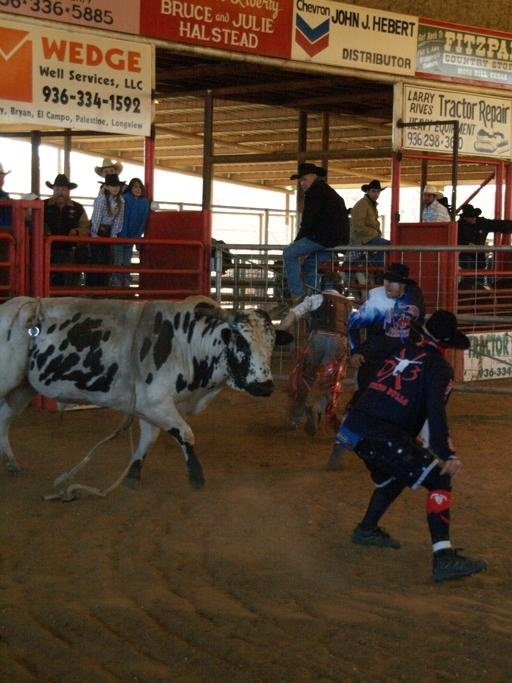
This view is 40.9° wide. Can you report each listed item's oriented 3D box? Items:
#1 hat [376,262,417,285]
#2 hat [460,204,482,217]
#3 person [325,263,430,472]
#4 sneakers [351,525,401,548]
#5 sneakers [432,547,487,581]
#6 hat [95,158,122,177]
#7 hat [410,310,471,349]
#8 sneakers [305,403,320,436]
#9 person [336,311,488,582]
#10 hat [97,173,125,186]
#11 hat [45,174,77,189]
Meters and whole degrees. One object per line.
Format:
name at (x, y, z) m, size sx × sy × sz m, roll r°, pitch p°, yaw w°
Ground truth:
hat at (1.043, -0.491, 4.976) m, size 0.192 × 0.087 × 0.168 m, roll 15°, pitch -1°, yaw -43°
hat at (3.435, -2.091, 11.032) m, size 0.225 × 0.081 × 0.248 m, roll -5°, pitch 1°, yaw 7°
person at (1.020, 0.176, 5.550) m, size 0.663 × 1.708 × 0.520 m, roll 1°, pitch 27°, yaw -1°
sneakers at (0.621, 1.040, 3.651) m, size 0.298 × 0.108 × 0.097 m, roll 3°, pitch -3°, yaw -5°
sneakers at (0.949, 1.027, 3.176) m, size 0.321 × 0.152 × 0.105 m, roll -5°, pitch -7°, yaw -4°
hat at (-1.873, -2.198, 8.713) m, size 0.351 × 0.126 × 0.364 m, roll -5°, pitch -9°, yaw -7°
hat at (0.940, -0.060, 3.453) m, size 0.238 × 0.157 × 0.280 m, roll 3°, pitch 2°, yaw 18°
sneakers at (0.538, 0.737, 6.462) m, size 0.172 × 0.256 × 0.077 m, roll 4°, pitch 15°, yaw 14°
person at (0.766, 0.462, 3.424) m, size 0.717 × 0.987 × 0.707 m, roll 3°, pitch 2°, yaw 6°
hat at (-1.797, -1.984, 8.451) m, size 0.181 × 0.066 × 0.199 m, roll -12°, pitch 9°, yaw -42°
hat at (-2.659, -2.142, 9.351) m, size 0.434 × 0.150 × 0.453 m, roll 0°, pitch -3°, yaw -8°
